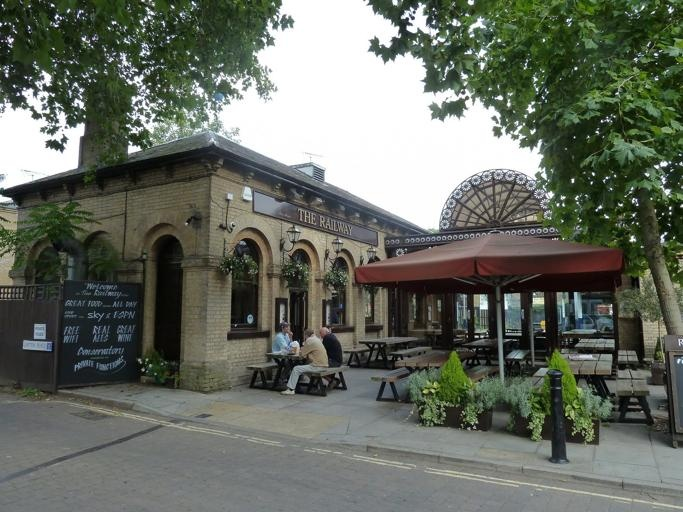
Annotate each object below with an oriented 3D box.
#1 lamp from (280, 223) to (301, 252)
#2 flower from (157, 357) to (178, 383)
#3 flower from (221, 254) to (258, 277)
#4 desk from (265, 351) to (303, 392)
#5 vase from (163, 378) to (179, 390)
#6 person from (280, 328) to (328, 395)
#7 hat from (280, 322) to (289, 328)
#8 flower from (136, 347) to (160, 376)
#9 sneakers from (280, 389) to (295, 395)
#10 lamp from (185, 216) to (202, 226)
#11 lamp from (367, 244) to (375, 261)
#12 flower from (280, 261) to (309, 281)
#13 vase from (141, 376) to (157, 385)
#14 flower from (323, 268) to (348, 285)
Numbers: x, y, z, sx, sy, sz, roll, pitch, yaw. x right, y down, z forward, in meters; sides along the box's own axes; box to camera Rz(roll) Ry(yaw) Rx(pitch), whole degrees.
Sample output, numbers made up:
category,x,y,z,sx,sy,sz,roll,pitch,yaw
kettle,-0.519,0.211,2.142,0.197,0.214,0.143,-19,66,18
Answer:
category,x,y,z,sx,sy,sz,roll,pitch,yaw
lamp,-1.566,-0.580,15.239,0.538,0.983,1.127,-1,-3,12
flower,-4.684,3.188,13.104,0.679,0.617,0.392,-1,-3,19
flower,-2.804,0.254,12.790,0.677,0.385,0.627,3,-2,-29
desk,-1.541,3.150,13.050,1.009,0.949,1.033,-1,-7,38
vase,-4.600,3.439,12.900,0.298,0.224,0.292,-12,-17,42
person,-0.893,2.756,12.578,1.057,1.639,0.740,0,-2,6
hat,-1.618,1.967,13.541,0.187,0.212,0.213,3,-29,5
flower,-5.374,2.929,13.341,0.702,0.793,0.656,1,-14,-7
sneakers,-1.368,3.506,12.372,0.371,0.181,0.136,2,-9,12
lamp,-3.936,-0.960,12.753,0.265,0.198,0.338,-10,-12,30
lamp,1.260,-0.127,20.345,0.488,0.720,0.512,1,-10,-8
flower,-1.420,0.482,14.663,0.646,0.458,0.642,4,-8,-15
vase,-5.452,3.485,13.433,0.337,0.238,0.113,3,-1,28
flower,-0.214,0.785,16.850,0.658,0.650,0.647,3,-8,-18
